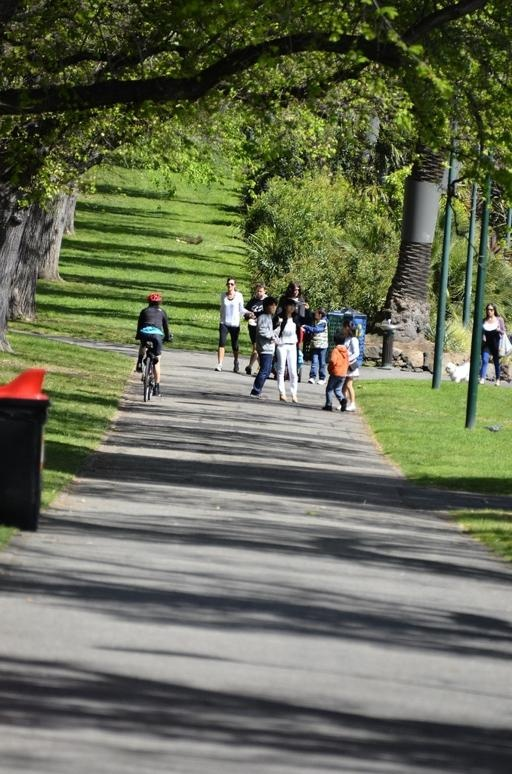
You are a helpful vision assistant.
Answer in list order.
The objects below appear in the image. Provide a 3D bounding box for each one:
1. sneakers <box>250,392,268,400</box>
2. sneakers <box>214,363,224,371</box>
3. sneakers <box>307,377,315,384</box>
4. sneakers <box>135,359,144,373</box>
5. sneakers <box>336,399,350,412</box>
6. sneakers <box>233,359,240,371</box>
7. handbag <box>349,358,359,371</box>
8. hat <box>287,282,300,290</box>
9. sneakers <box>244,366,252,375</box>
[{"bbox_3d":[0.033,0.160,18.509,0.280,0.121,0.109,8,43,10],"label":"sneakers"},{"bbox_3d":[-0.817,-0.426,22.440,0.139,0.158,0.373,1,11,-7],"label":"sneakers"},{"bbox_3d":[1.193,-0.147,23.169,0.122,0.141,0.337,2,-4,5],"label":"sneakers"},{"bbox_3d":[-1.830,-0.328,16.390,0.121,0.159,0.382,3,6,-6],"label":"sneakers"},{"bbox_3d":[1.560,0.339,18.802,0.098,0.218,0.256,-5,11,-35],"label":"sneakers"},{"bbox_3d":[-0.429,-0.451,22.252,0.101,0.291,0.127,-1,4,-5],"label":"sneakers"},{"bbox_3d":[1.686,-0.378,18.345,0.172,0.149,0.046,6,2,-39],"label":"handbag"},{"bbox_3d":[0.697,-1.936,20.171,0.160,0.186,0.191,-3,18,-17],"label":"hat"},{"bbox_3d":[-0.188,-0.352,22.315,0.178,0.223,0.535,0,-6,-3],"label":"sneakers"}]
